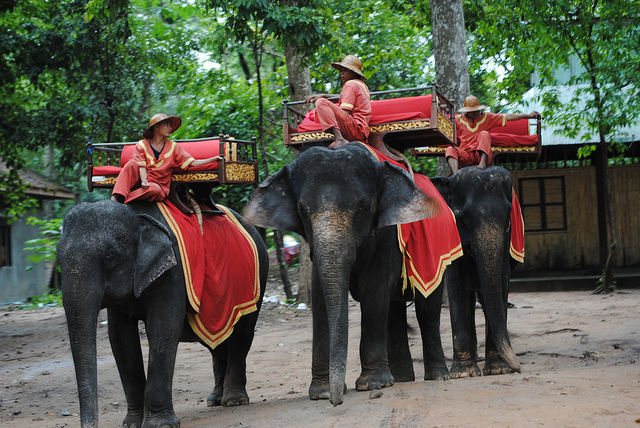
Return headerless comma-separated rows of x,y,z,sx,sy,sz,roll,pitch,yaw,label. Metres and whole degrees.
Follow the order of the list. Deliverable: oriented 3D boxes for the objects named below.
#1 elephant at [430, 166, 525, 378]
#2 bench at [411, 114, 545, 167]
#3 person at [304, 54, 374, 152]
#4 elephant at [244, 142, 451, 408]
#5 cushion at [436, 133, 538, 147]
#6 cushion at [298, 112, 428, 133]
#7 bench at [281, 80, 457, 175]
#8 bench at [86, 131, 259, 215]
2.436,0.794,13.873,1.267,2.745,1.616,0,0,24,elephant
2.312,-1.115,14.191,1.577,0.561,0.546,-3,-9,16,bench
0.307,-1.440,12.914,0.945,1.525,0.695,1,-3,14,person
0.395,0.595,13.038,2.343,3.592,2.282,-2,-1,27,elephant
2.853,-1.053,14.191,0.631,0.156,0.600,1,-2,-11,cushion
0.610,-1.243,12.829,1.667,0.248,0.285,-4,0,-6,cushion
0.619,-1.194,12.986,1.939,0.872,1.380,0,1,16,bench
-2.111,-0.552,13.498,2.120,1.020,1.058,-1,1,14,bench
